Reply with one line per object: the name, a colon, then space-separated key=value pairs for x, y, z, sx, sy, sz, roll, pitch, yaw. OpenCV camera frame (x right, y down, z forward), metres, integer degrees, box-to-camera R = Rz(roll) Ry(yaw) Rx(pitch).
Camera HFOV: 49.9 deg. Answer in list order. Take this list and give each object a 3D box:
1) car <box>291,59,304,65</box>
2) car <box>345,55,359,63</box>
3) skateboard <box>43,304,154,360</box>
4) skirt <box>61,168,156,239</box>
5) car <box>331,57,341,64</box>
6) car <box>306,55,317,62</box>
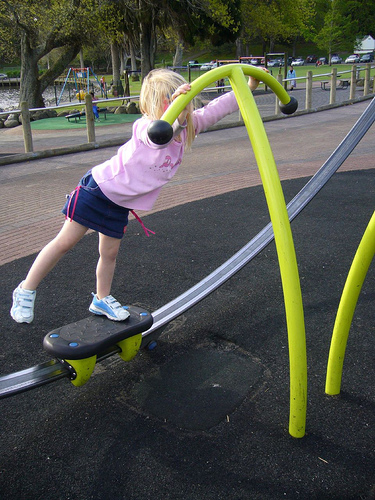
car: x=17.296 y=-29.214 z=62.535 sx=1.441 sy=1.045 sz=2.949 roll=4 pitch=20 yaw=18
car: x=25.730 y=-29.637 z=62.335 sx=1.464 sy=1.024 sz=2.199 roll=24 pitch=41 yaw=34
skateboard: x=-0.360 y=0.309 z=1.855 sx=0.221 sy=0.064 sz=0.511 roll=17 pitch=17 yaw=30
skirt: x=-0.426 y=-0.214 z=1.922 sx=0.334 sy=0.336 sz=0.197 roll=-5 pitch=20 yaw=-7
car: x=23.739 y=-30.605 z=64.720 sx=1.349 sy=1.174 sz=2.343 roll=12 pitch=24 yaw=35
car: x=23.040 y=-35.419 z=74.679 sx=1.163 sy=0.796 sz=2.394 roll=8 pitch=36 yaw=13
